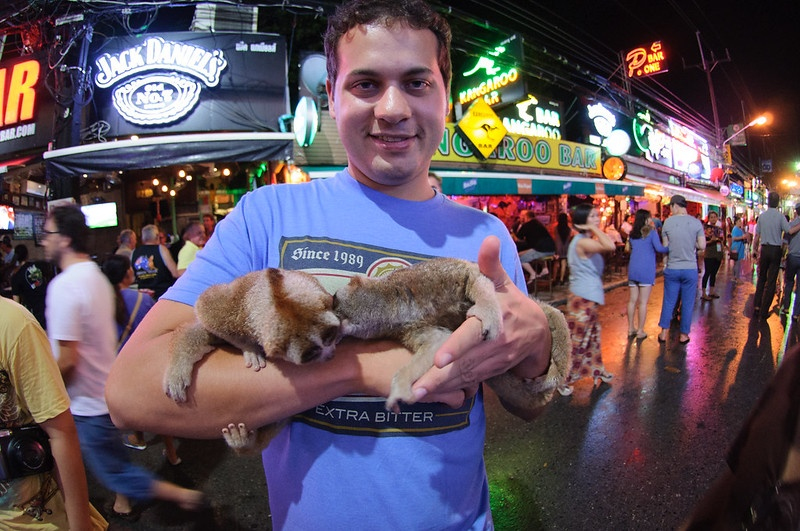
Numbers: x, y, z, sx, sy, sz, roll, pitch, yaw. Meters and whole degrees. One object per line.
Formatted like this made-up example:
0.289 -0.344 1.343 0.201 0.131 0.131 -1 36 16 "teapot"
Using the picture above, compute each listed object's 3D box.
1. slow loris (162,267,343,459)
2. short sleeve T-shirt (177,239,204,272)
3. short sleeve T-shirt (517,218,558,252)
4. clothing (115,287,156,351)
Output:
-1.273 0.627 4.713 1.494 1.215 0.221 4 3 4 "slow loris"
-3.516 -0.179 9.028 0.349 0.583 0.644 -4 5 -31 "short sleeve T-shirt"
3.841 -0.770 15.122 0.796 1.151 1.050 -9 -2 -42 "short sleeve T-shirt"
-3.263 0.653 6.577 0.352 0.562 0.695 2 12 14 "clothing"
